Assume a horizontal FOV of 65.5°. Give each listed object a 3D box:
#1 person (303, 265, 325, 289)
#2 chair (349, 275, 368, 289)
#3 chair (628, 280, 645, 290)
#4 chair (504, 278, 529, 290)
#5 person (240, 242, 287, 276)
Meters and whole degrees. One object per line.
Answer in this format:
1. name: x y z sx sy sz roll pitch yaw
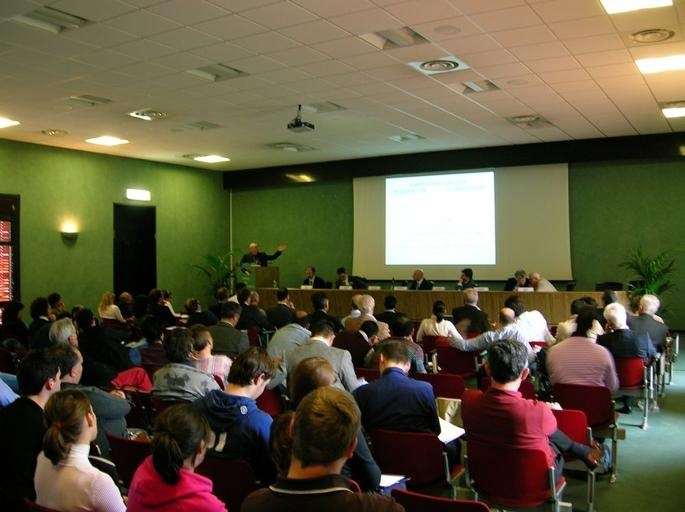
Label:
1. person: -0.672 0.493 12.616 0.485 0.462 1.263 0 0 -6
2. chair: 0.342 0.567 11.900 0.316 0.356 0.282 -1 0 13
3. chair: 5.622 0.547 10.211 0.263 0.195 0.269 0 3 5
4. chair: 3.485 0.588 10.857 0.304 0.154 0.424 -4 -9 -4
5. person: -2.018 0.082 13.905 1.197 0.453 1.350 -5 22 -9
